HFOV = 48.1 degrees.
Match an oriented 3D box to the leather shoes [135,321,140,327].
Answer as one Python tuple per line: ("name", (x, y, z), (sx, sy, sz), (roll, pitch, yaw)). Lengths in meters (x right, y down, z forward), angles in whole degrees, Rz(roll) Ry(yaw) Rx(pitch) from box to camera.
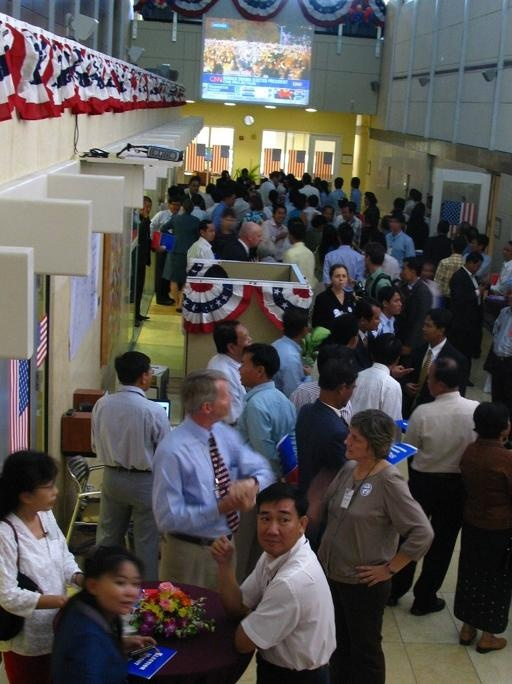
("leather shoes", (-1.985, -0.299, 9.688), (0.086, 0.090, 0.164), (-2, 12, -4))

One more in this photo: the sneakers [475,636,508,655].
("sneakers", (1.288, 1.653, 3.136), (0.162, 0.066, 0.082), (-11, 34, -10))

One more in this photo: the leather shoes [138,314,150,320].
("leather shoes", (-1.938, -0.421, 9.991), (0.182, 0.128, 0.064), (-16, 30, -26))

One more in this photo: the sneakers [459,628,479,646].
("sneakers", (1.190, 1.641, 3.190), (0.060, 0.054, 0.131), (-2, -1, 7))

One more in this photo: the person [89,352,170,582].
("person", (-0.692, 0.820, 3.339), (0.460, 1.512, 0.438), (2, 1, 2))

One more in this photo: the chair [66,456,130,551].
("chair", (-1.149, 1.073, 3.926), (0.275, 0.453, 0.260), (24, -8, -32))
